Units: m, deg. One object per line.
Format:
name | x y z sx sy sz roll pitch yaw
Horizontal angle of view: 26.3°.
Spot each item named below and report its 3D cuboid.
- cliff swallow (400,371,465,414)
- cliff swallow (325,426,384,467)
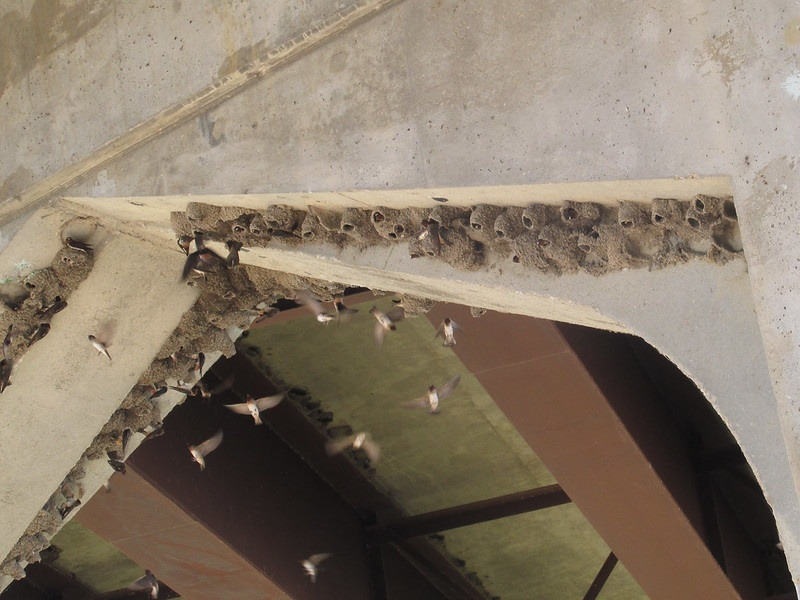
cliff swallow | 0.274 0.773 13.744 0.489 0.399 0.415 0 -3 -5
cliff swallow | -0.403 1.383 15.616 0.363 0.359 0.085 -35 7 21
